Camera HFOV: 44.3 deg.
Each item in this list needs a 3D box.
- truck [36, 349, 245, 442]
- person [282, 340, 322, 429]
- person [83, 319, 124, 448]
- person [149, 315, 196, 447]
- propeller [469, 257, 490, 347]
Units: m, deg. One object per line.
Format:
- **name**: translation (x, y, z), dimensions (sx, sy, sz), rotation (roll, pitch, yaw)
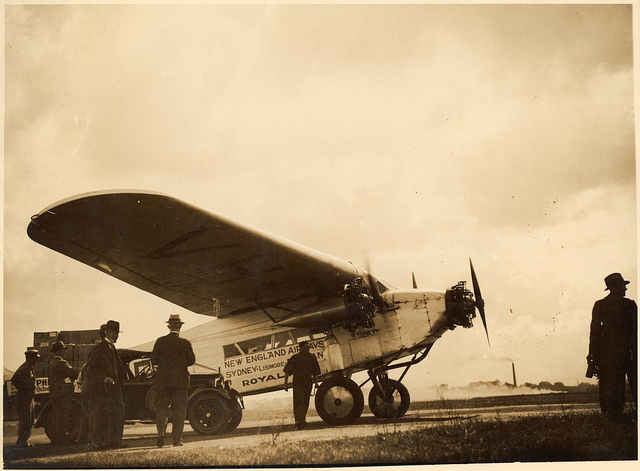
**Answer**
- **truck**: translation (-3.086, 2.555, 12.692), dimensions (3.283, 1.445, 1.235), rotation (0, -11, -16)
- **person**: translation (-0.253, 2.369, 12.492), dimensions (0.537, 1.301, 0.446), rotation (-5, -22, -1)
- **person**: translation (-3.415, 2.334, 12.341), dimensions (0.627, 1.907, 0.560), rotation (0, -23, -15)
- **person**: translation (-2.294, 2.228, 12.222), dimensions (0.671, 1.988, 0.579), rotation (-1, -22, -12)
- **propeller**: translation (2.599, 1.139, 12.629), dimensions (0.159, 1.231, 0.047), rotation (-4, -8, -34)
